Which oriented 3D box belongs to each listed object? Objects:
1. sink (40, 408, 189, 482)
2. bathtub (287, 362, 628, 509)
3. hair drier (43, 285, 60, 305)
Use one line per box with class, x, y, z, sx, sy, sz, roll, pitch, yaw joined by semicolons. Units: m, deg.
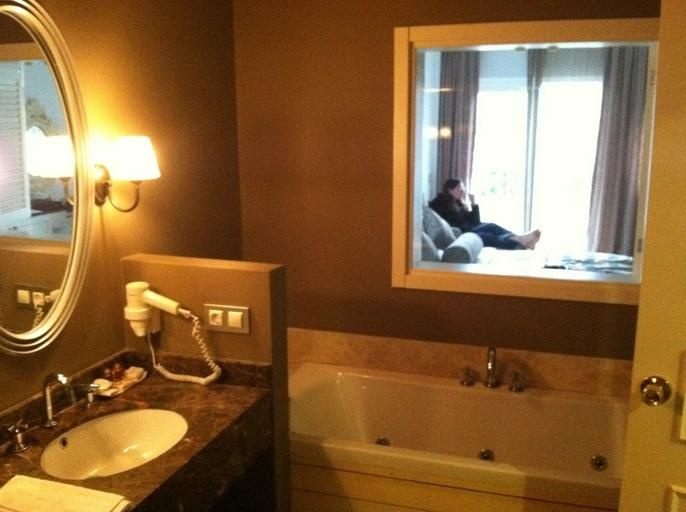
sink;-0.831;0.675;2.258;0.440;0.202;0.540;2;7;21
bathtub;0.517;0.950;3.020;1.749;0.374;0.827;4;13;15
hair drier;-1.078;0.155;2.215;0.045;0.053;0.038;5;10;22
